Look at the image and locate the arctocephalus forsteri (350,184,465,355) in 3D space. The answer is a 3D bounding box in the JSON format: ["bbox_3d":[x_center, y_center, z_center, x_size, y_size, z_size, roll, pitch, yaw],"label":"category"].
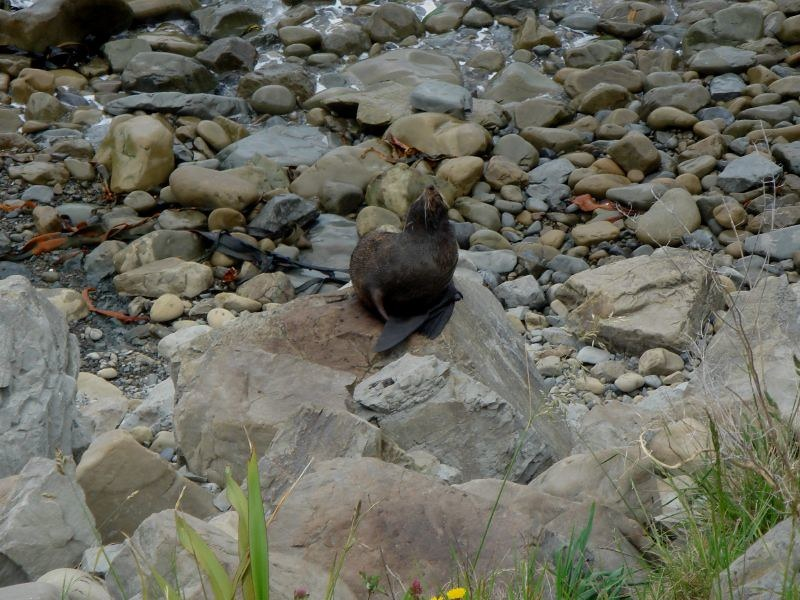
[{"bbox_3d":[0.037,-0.274,6.392,0.826,1.087,0.901,-8,26,-2],"label":"arctocephalus forsteri"}]
